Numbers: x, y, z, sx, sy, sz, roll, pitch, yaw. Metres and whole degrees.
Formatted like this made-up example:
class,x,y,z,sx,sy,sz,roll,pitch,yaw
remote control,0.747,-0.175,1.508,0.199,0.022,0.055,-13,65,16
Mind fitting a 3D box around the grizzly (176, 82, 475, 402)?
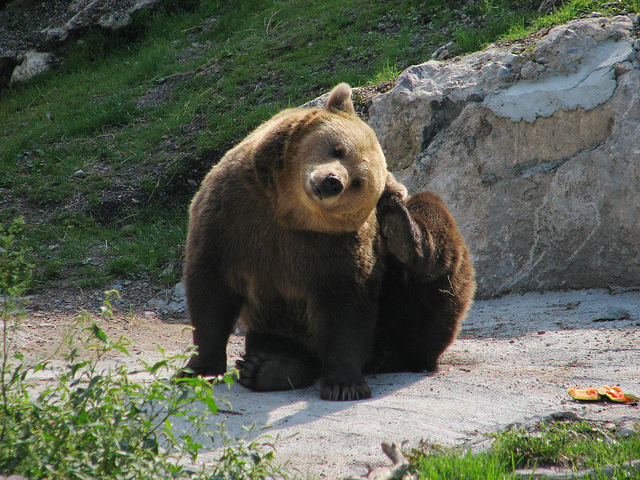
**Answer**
class,x,y,z,sx,sy,sz,roll,pitch,yaw
grizzly,0.112,-0.220,14.681,3.712,3.180,3.714,1,12,7
